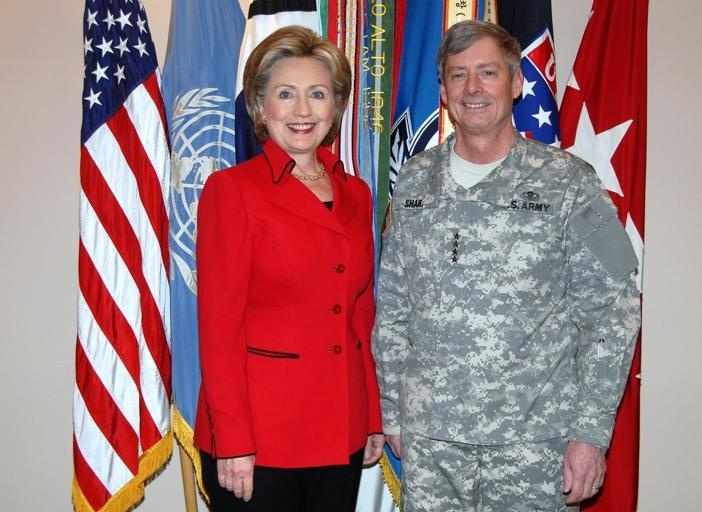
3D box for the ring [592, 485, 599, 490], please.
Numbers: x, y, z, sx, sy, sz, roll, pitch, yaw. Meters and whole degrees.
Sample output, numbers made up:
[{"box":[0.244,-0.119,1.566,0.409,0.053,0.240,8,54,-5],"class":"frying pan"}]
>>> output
[{"box":[0.979,0.927,3.625,0.014,0.022,0.007,0,6,-8],"class":"ring"}]
